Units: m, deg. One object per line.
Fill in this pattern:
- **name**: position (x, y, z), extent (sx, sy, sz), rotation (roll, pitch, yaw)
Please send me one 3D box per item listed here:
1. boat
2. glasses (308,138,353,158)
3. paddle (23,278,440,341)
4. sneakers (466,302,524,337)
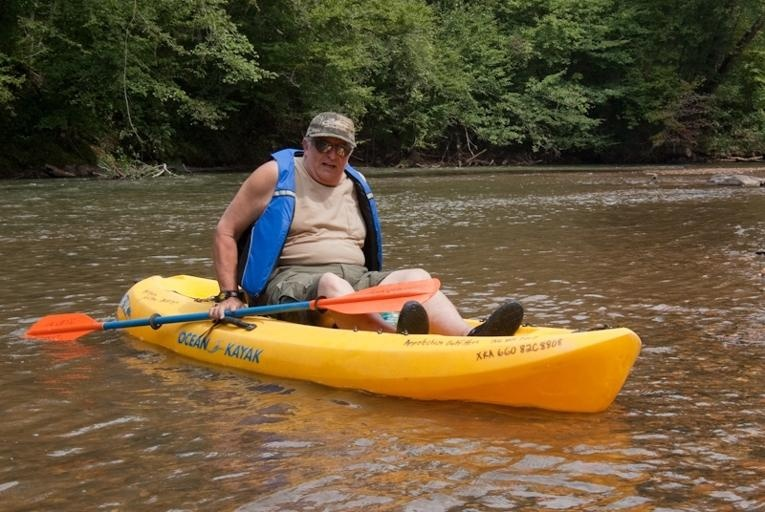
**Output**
- **boat**: position (-0.189, 0.599, 5.905), extent (4.538, 0.416, 1.135), rotation (3, 6, 25)
- **glasses**: position (-0.394, -0.841, 6.149), extent (0.322, 0.150, 0.104), rotation (-1, 13, -11)
- **paddle**: position (-1.129, 0.444, 6.234), extent (3.271, 0.191, 0.225), rotation (-6, 42, 17)
- **sneakers**: position (0.747, 0.470, 5.488), extent (0.386, 0.081, 0.094), rotation (11, 10, 6)
